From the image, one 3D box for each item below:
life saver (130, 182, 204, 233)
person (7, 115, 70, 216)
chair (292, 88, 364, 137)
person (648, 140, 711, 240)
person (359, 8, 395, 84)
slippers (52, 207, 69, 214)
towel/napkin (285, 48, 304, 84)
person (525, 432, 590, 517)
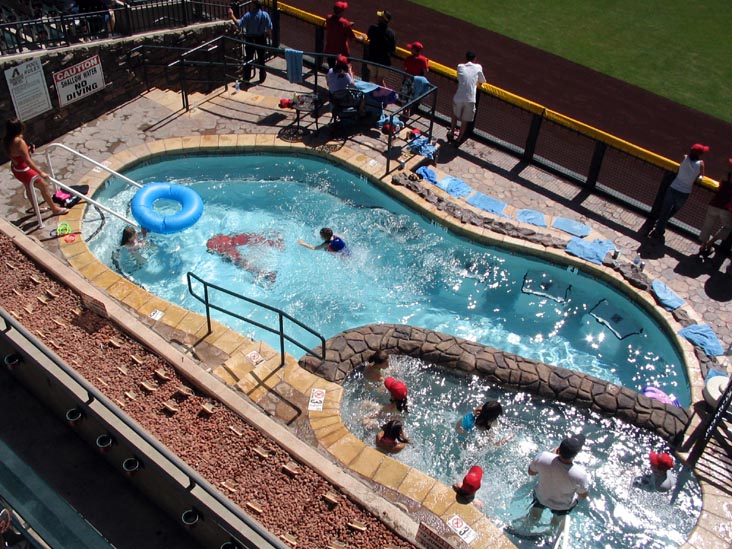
[{"bbox_3d":[-4.120,-1.407,11.225,1.242,0.351,1.193,9,42,-14],"label":"life saver"},{"bbox_3d":[-6.393,-1.954,10.388,0.546,1.897,0.733,-28,59,-22],"label":"person"},{"bbox_3d":[-0.838,-4.205,13.691,1.879,0.921,1.137,-21,68,-15],"label":"chair"},{"bbox_3d":[6.585,-1.792,11.879,1.025,2.095,1.199,15,29,1],"label":"person"},{"bbox_3d":[0.369,-5.830,14.337,0.970,1.980,0.886,31,36,32],"label":"person"},{"bbox_3d":[-6.139,-1.294,11.000,0.227,0.103,0.325,6,11,42],"label":"slippers"},{"bbox_3d":[-1.817,-5.244,13.877,0.367,1.084,0.472,-8,54,-9],"label":"towel/napkin"},{"bbox_3d":[2.677,2.892,7.585,0.580,1.626,0.740,-26,58,-21],"label":"person"}]
